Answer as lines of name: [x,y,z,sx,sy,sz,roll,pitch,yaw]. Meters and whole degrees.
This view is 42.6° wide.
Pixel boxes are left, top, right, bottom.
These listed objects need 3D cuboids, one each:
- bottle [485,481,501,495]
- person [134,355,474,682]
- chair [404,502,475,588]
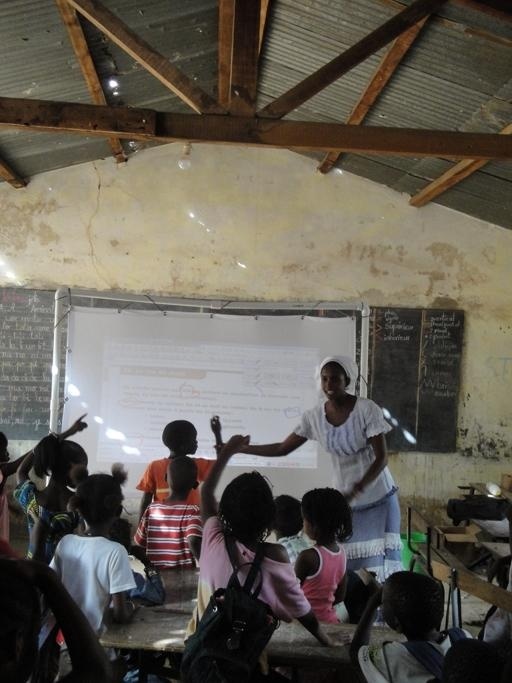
bottle: [1.616,1.010,4.425,0.097,0.033,0.120,-1,16,1]
person: [0.148,0.720,3.502,1.495,1.431,0.772,-6,-10,0]
chair: [0.962,1.165,3.561,0.247,0.336,0.556,6,-22,25]
